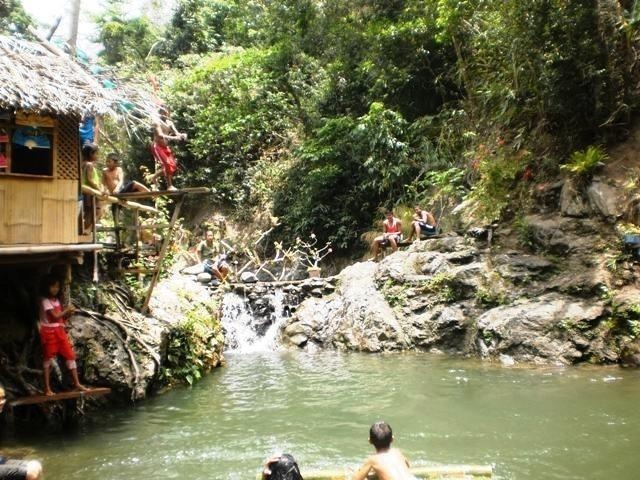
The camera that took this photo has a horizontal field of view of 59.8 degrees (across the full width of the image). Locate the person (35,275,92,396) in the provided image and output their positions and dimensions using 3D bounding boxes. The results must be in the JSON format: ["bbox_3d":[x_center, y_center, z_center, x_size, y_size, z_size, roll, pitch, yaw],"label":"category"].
[{"bbox_3d":[-4.604,1.695,9.742,0.614,1.941,0.875,-8,11,-28],"label":"person"}]

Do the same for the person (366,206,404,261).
[{"bbox_3d":[2.005,-0.153,16.240,0.791,1.561,1.034,-5,-11,30],"label":"person"}]

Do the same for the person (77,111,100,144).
[{"bbox_3d":[-4.787,-2.242,11.511,0.354,0.544,0.779,-6,10,-21],"label":"person"}]

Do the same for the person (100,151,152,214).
[{"bbox_3d":[-4.082,-1.336,11.366,0.703,0.884,1.130,-8,10,-30],"label":"person"}]

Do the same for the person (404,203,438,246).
[{"bbox_3d":[2.896,-0.479,15.861,0.823,1.042,0.646,-1,1,-20],"label":"person"}]

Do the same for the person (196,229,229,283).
[{"bbox_3d":[-3.552,0.515,18.347,0.956,1.454,1.792,-5,9,-13],"label":"person"}]
